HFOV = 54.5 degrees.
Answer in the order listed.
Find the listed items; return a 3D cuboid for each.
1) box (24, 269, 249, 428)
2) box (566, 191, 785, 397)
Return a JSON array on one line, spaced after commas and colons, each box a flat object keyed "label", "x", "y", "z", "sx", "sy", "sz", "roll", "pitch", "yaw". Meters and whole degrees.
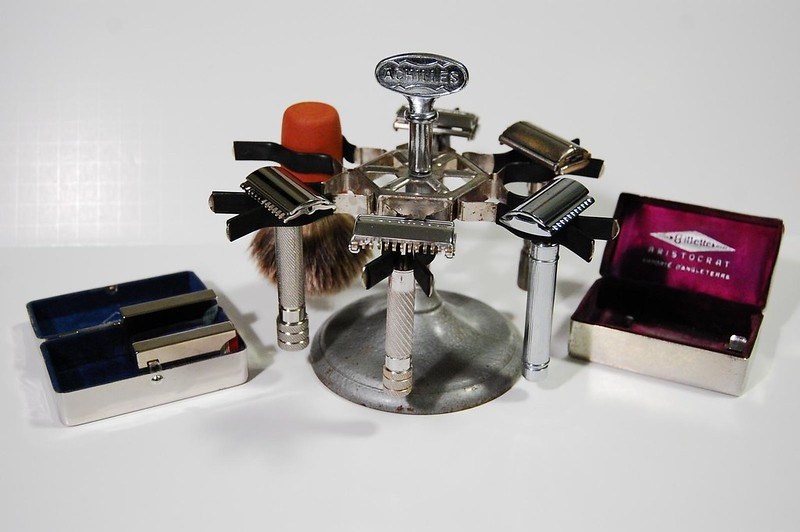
[{"label": "box", "x": -0.512, "y": 0.147, "z": 1.511, "sx": 0.363, "sy": 0.197, "sz": 0.308, "roll": -7, "pitch": 20, "yaw": -26}, {"label": "box", "x": 0.562, "y": 0.052, "z": 1.584, "sx": 0.435, "sy": 0.299, "sz": 0.406, "roll": 13, "pitch": 41, "yaw": 19}]
